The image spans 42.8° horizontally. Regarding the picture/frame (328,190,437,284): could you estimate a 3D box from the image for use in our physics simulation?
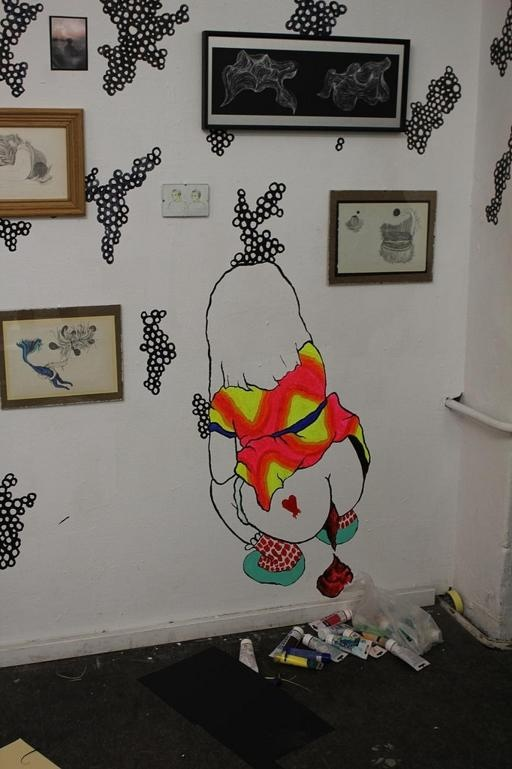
[{"bbox_3d":[0.361,-0.423,1.887,0.329,0.260,0.020,-2,9,-15],"label":"picture/frame"}]

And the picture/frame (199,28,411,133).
[{"bbox_3d":[0.134,-0.784,1.707,0.556,0.244,0.040,-2,9,-15],"label":"picture/frame"}]
